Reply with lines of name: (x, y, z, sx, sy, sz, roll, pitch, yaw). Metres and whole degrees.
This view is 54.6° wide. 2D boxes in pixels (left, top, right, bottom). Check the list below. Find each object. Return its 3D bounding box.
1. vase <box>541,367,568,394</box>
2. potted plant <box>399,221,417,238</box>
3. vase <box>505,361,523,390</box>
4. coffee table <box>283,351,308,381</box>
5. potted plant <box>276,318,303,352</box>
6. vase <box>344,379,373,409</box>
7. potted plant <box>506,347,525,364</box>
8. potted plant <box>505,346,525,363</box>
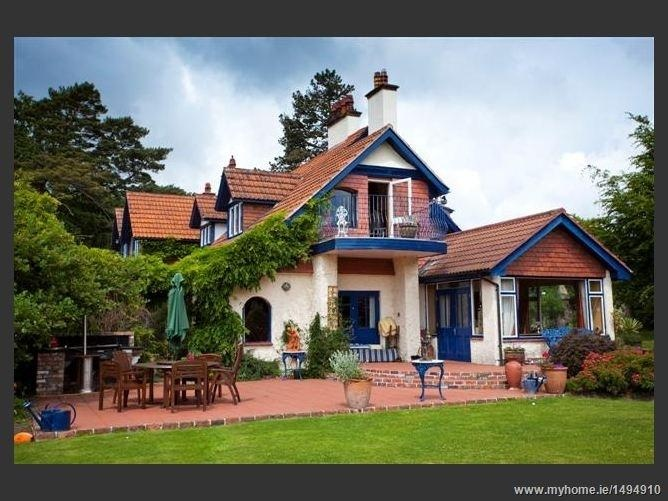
vase: (6.206, 3.688, 18.397, 0.620, 0.729, 0.680, 2, -15, -2)
potted plant: (2.703, -0.742, 23.637, 0.517, 0.443, 0.536, -4, -7, 39)
vase: (5.222, 3.621, 18.763, 0.594, 0.990, 0.646, 0, -8, -3)
coffee table: (-1.337, 3.919, 21.910, 0.809, 0.943, 0.859, 1, -13, -6)
potted plant: (-1.546, 2.994, 22.562, 1.039, 1.491, 0.915, 1, -13, -9)
vase: (0.584, 3.614, 16.241, 0.612, 0.581, 0.673, 1, -15, -2)
potted plant: (6.153, 3.507, 21.931, 0.636, 0.552, 0.665, 4, -9, -14)
potted plant: (6.123, 3.564, 22.043, 0.621, 0.540, 0.658, 2, -10, -7)
